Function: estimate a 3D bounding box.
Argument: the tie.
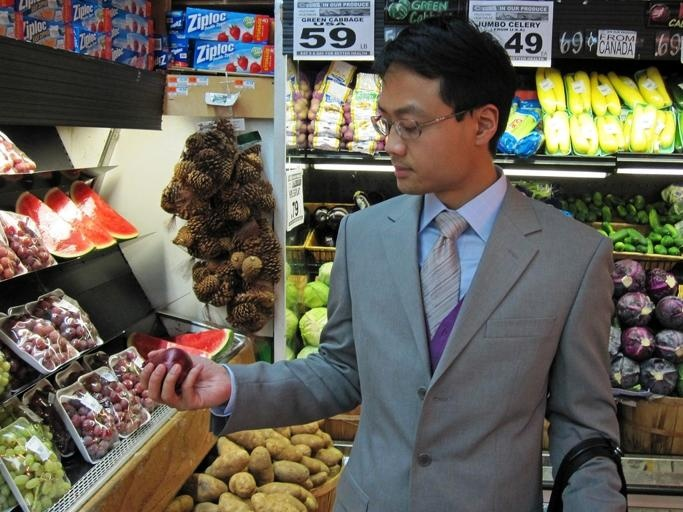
[{"bbox_3d":[0.291,0.058,1.422,0.113,0.412,0.056,11,-11,10],"label":"tie"}]

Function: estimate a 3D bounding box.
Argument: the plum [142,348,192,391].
[{"bbox_3d":[-0.469,0.317,1.338,0.110,0.121,0.064,-1,15,5],"label":"plum"}]

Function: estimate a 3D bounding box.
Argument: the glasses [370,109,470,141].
[{"bbox_3d":[0.220,-0.368,1.377,0.286,0.071,0.126,3,16,15],"label":"glasses"}]

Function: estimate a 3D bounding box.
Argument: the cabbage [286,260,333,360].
[{"bbox_3d":[-0.194,0.314,2.863,0.225,0.527,0.385,0,14,-4],"label":"cabbage"}]

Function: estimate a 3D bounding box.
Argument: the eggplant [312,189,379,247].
[{"bbox_3d":[0.023,-0.240,3.043,0.393,0.338,0.338,-5,17,-13],"label":"eggplant"}]
